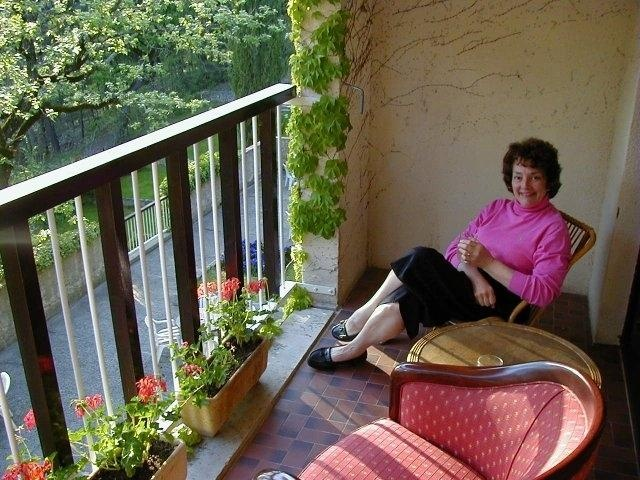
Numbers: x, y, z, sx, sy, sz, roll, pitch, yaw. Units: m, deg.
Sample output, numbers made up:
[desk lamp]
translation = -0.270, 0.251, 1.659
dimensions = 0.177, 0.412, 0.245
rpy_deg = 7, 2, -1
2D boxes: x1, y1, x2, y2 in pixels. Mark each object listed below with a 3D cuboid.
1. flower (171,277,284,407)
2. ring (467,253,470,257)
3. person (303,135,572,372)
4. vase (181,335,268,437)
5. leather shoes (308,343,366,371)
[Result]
[flower]
translation = -0.582, 0.510, 2.610
dimensions = 0.413, 0.457, 0.787
rpy_deg = 12, 35, 15
[ring]
translation = 0.831, 0.082, 2.643
dimensions = 0.015, 0.015, 0.015
rpy_deg = -1, 52, 2
[person]
translation = 0.694, 0.082, 2.778
dimensions = 1.513, 1.204, 0.816
rpy_deg = -9, 14, -5
[vase]
translation = -0.535, 0.786, 2.698
dimensions = 0.261, 0.281, 0.622
rpy_deg = 11, 23, 20
[leather shoes]
translation = 0.114, 0.758, 3.023
dimensions = 0.344, 0.116, 0.155
rpy_deg = 0, 20, -5
